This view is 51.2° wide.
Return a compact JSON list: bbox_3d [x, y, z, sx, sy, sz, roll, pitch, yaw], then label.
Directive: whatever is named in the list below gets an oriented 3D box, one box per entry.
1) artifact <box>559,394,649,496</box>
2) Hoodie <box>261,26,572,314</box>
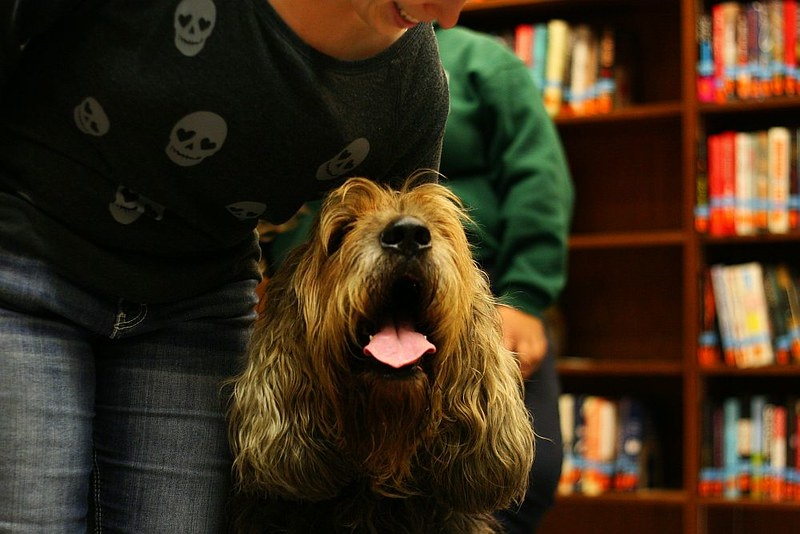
[{"bbox_3d":[0.994,0.795,4.173,0.409,0.589,0.584,0,-6,8],"label":"artifact"},{"bbox_3d":[0.045,-0.244,2.279,0.797,0.744,0.429,-7,-19,36],"label":"Hoodie"}]
